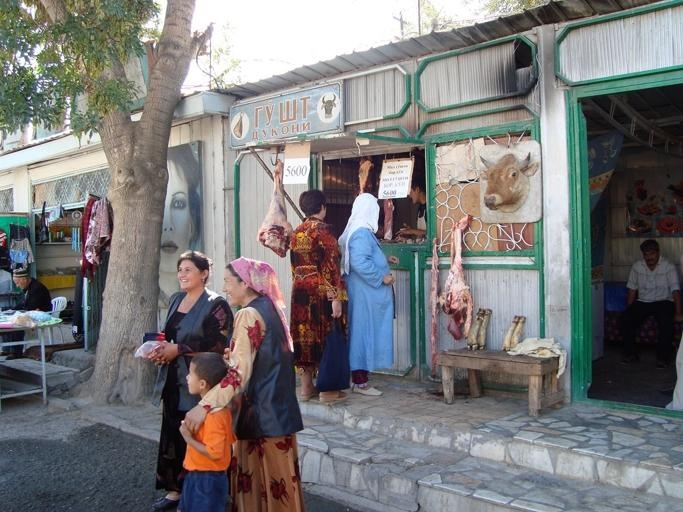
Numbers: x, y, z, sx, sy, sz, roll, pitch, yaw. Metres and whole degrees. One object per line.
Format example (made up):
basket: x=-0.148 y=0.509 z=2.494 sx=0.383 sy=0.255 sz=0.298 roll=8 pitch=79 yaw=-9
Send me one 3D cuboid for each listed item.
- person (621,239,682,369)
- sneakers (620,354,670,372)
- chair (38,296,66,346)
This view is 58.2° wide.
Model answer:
person: x=4.291 y=0.628 z=8.529 sx=0.721 sy=1.511 sz=0.878 roll=1 pitch=12 yaw=29
sneakers: x=4.119 y=1.439 z=8.337 sx=0.606 sy=0.288 sz=0.207 roll=-3 pitch=-1 yaw=0
chair: x=-5.740 y=1.347 z=12.311 sx=0.469 sy=0.846 sz=0.533 roll=4 pitch=12 yaw=41
